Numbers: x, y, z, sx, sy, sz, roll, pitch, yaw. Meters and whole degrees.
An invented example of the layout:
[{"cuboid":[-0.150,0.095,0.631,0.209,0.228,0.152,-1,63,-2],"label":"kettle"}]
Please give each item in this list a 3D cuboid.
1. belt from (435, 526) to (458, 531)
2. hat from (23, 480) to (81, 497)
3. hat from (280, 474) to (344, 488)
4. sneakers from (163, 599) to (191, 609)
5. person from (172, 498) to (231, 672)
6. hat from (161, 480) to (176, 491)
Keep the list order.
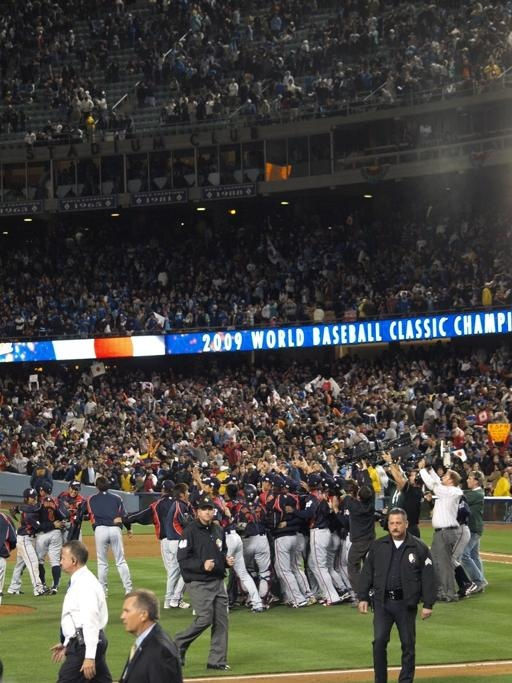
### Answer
[{"cuboid":[2.765,2.726,21.555,0.319,0.076,0.195,-2,-1,5],"label":"belt"},{"cuboid":[-3.780,2.734,27.541,0.938,0.265,1.007,7,-11,1],"label":"hat"},{"cuboid":[0.857,2.121,22.470,0.512,0.181,0.341,-5,-3,10],"label":"hat"},{"cuboid":[-1.196,3.929,22.163,0.395,0.196,0.158,1,1,-4],"label":"sneakers"},{"cuboid":[-0.681,3.083,18.569,0.613,1.925,0.713,-2,-1,-4],"label":"person"},{"cuboid":[-1.325,2.156,22.217,0.141,0.207,0.185,4,17,-12],"label":"hat"}]
